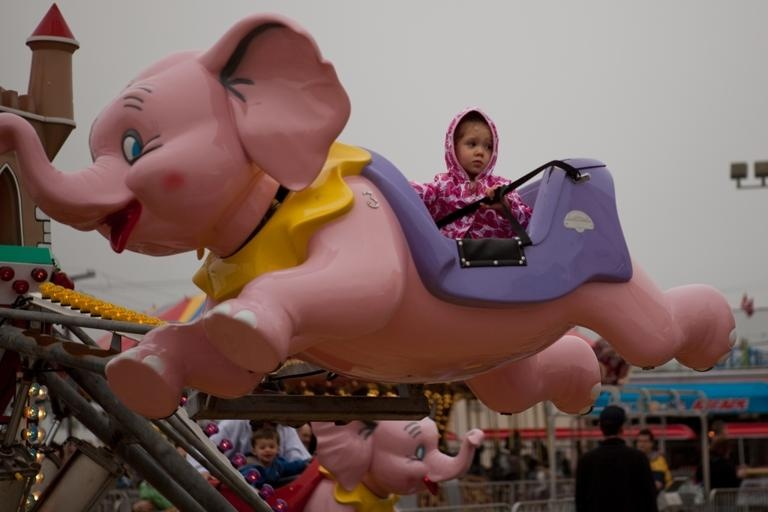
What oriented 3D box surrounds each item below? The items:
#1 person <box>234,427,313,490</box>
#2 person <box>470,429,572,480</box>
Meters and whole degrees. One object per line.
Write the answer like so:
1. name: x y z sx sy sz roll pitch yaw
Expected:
1. person: -0.788 1.362 7.943 0.509 0.392 0.706 -4 -8 -15
2. person: 1.780 2.647 15.418 1.085 0.536 1.512 -2 -8 19
